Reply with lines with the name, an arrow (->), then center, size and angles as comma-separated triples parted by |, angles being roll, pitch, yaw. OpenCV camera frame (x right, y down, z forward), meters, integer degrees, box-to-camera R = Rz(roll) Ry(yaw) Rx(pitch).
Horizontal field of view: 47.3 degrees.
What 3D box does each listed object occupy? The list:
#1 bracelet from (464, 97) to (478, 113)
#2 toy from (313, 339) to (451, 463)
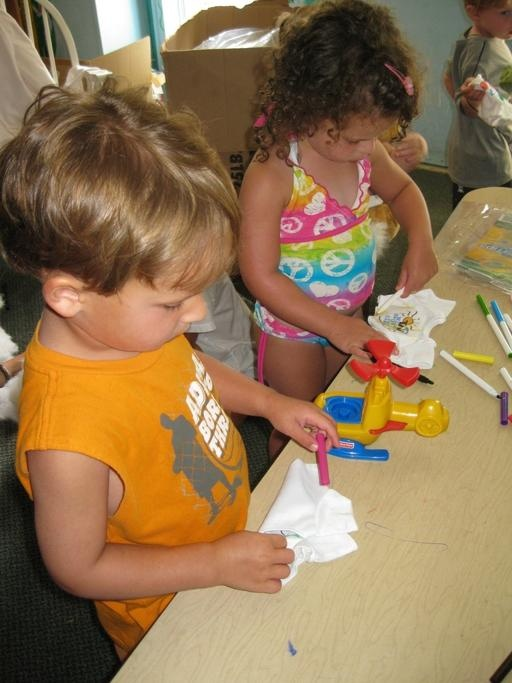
bracelet -> 0.649, -0.726, 1.772 | 0.039, 0.043, 0.046 | 1, 67, 23
toy -> 0.153, 0.079, 0.762 | 0.184, 0.122, 0.118 | -1, 46, 7
